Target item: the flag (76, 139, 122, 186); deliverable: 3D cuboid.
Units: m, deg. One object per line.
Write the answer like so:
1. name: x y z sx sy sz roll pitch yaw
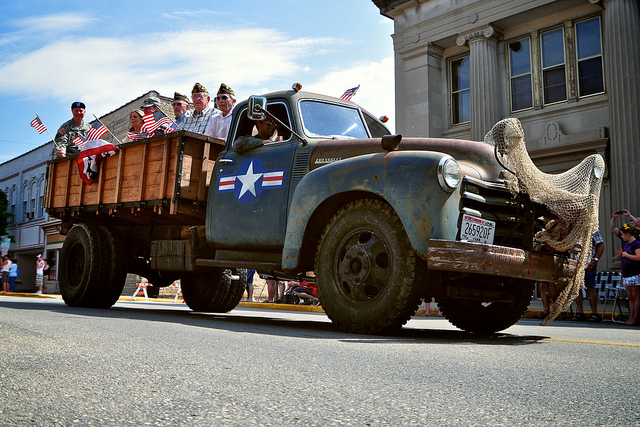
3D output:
1. flag: -4.061 -0.909 9.548 0.241 0.807 0.807 -3 -14 37

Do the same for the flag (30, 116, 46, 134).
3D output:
1. flag: -7.079 -2.244 13.569 0.208 0.516 0.519 6 -9 -38

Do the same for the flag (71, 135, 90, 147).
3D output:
1. flag: -4.830 -1.457 10.839 0.359 0.111 0.386 22 7 28

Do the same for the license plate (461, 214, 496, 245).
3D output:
1. license plate: 1.718 0.172 5.869 0.524 0.299 0.024 5 -8 -33
